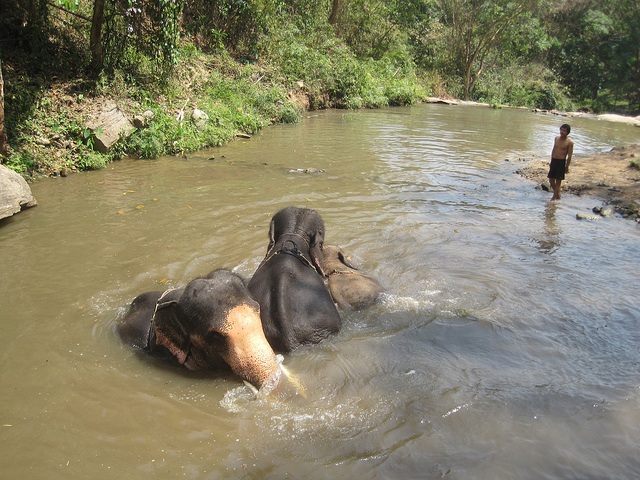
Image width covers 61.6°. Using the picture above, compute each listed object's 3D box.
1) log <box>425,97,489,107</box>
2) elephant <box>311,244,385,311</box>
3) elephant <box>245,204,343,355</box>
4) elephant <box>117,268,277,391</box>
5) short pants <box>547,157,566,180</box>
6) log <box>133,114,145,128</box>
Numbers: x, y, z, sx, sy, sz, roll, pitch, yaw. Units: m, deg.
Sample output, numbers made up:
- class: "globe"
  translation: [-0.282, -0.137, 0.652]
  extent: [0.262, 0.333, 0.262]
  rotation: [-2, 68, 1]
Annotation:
- class: "log"
  translation: [10.753, -10.741, 41.886]
  extent: [5.686, 0.693, 2.695]
  rotation: [-10, 21, -28]
- class: "elephant"
  translation: [0.466, 0.479, 8.244]
  extent: [0.598, 0.709, 1.423]
  rotation: [-31, 40, 3]
- class: "elephant"
  translation: [-0.347, 0.564, 7.631]
  extent: [0.973, 1.379, 2.496]
  rotation: [-1, 47, 2]
- class: "elephant"
  translation: [-1.418, 0.869, 7.199]
  extent: [2.223, 1.483, 1.045]
  rotation: [13, 32, 29]
- class: "short pants"
  translation: [5.608, -1.683, 12.719]
  extent: [0.331, 0.462, 0.361]
  rotation: [8, 20, 23]
- class: "log"
  translation: [-5.066, -3.282, 15.125]
  extent: [0.300, 0.309, 0.306]
  rotation: [-3, 52, -33]
